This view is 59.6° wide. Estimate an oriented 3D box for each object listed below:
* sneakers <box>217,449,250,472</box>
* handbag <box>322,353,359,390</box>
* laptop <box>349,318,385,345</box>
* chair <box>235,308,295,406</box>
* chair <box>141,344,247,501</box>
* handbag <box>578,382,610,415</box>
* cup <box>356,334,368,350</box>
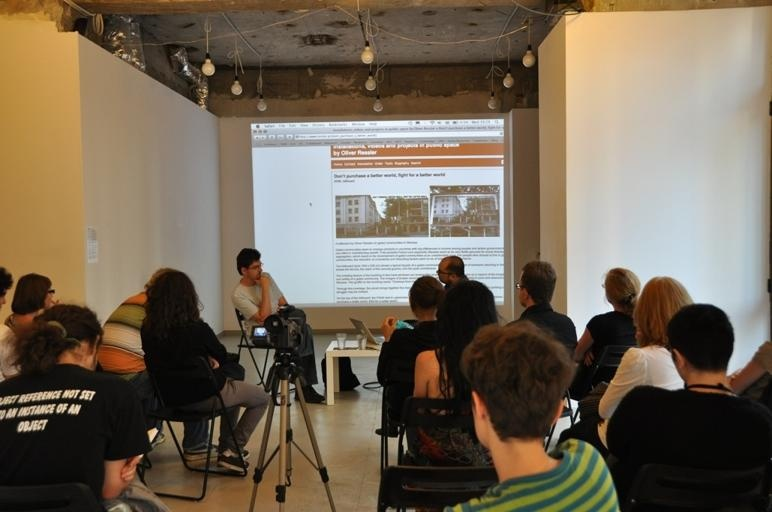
[{"bbox_3d":[-1.162,1.592,5.256,0.316,0.156,0.118,1,-2,-2],"label":"sneakers"},{"bbox_3d":[-0.459,1.224,7.140,0.256,0.368,0.261,-9,5,-5],"label":"handbag"},{"bbox_3d":[-0.217,0.898,8.186,0.508,0.345,0.543,-1,-1,-18],"label":"laptop"},{"bbox_3d":[-0.742,0.626,4.543,0.488,0.575,0.523,5,-11,-31],"label":"chair"},{"bbox_3d":[-1.412,1.198,5.043,0.529,0.987,0.619,-16,-24,5],"label":"chair"},{"bbox_3d":[1.395,0.939,4.632,0.122,0.232,0.306,14,7,44],"label":"handbag"},{"bbox_3d":[-0.235,0.869,6.801,0.107,0.126,0.111,-2,-2,0],"label":"cup"}]
